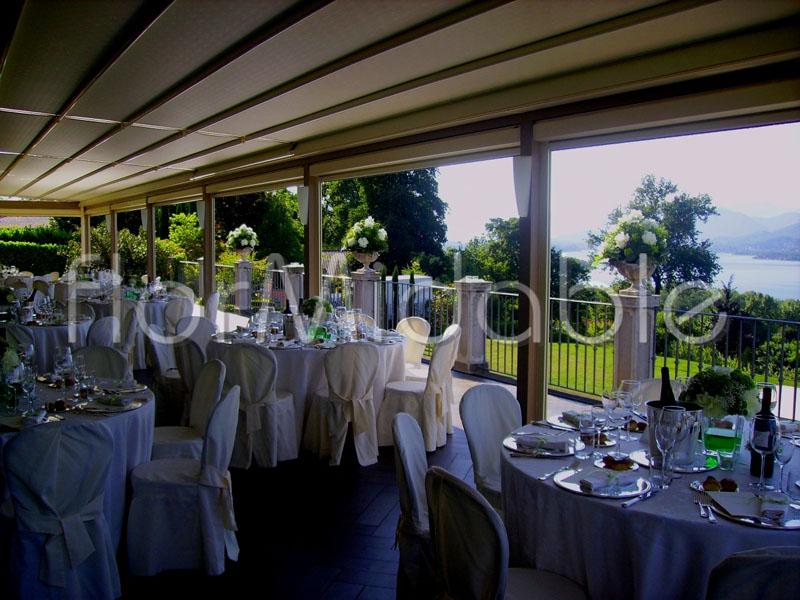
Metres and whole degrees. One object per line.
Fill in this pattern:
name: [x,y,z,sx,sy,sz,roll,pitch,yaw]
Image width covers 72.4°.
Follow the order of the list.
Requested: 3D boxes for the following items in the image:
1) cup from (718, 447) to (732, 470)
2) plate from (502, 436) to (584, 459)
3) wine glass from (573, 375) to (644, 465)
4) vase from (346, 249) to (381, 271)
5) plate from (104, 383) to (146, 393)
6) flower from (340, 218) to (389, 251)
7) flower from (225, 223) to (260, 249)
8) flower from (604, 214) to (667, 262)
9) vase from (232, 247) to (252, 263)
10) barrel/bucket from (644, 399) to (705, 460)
cup: [1.653,0.796,2.770,0.074,0.103,0.072,0,1,0]
plate: [0.735,0.785,2.887,0.373,0.025,0.178,4,13,12]
wine glass: [1.293,0.669,3.250,0.200,0.364,0.905,-1,-5,31]
vase: [-0.544,-0.620,8.234,0.354,0.212,0.359,0,-2,-36]
plate: [-1.862,0.595,3.700,0.153,0.031,0.124,3,3,3]
flower: [-0.500,-0.927,8.070,0.505,0.525,0.498,1,4,-15]
flower: [-3.040,-1.194,10.696,0.523,0.650,0.530,3,4,3]
flower: [2.084,-0.558,4.834,0.381,0.413,0.398,-18,16,-29]
vase: [-3.152,-0.927,11.141,0.318,0.289,0.332,-1,-4,5]
barrel/bucket: [1.400,0.674,2.803,0.228,0.312,0.262,-2,2,3]
